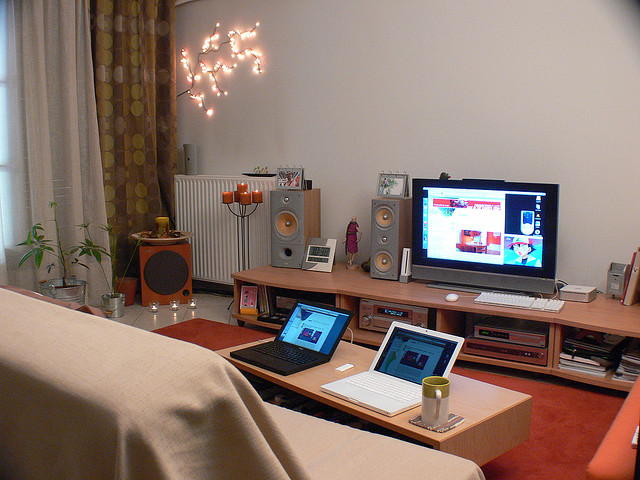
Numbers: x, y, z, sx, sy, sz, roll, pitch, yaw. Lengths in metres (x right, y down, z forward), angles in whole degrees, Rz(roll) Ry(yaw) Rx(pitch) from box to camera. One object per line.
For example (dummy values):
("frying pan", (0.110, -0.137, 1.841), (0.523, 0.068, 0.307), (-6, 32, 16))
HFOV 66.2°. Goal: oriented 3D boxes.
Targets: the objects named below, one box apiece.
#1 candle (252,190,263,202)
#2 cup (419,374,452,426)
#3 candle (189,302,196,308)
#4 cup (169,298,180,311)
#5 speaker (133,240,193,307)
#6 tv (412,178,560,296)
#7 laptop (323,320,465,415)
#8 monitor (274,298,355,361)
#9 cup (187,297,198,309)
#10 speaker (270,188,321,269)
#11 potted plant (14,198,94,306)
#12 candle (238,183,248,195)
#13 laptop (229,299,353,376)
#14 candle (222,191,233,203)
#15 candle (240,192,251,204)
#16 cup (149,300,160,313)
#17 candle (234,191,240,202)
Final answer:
("candle", (-0.515, -0.362, 4.068), (0.079, 0.089, 0.081), (0, 3, -4))
("cup", (0.390, 0.568, 1.688), (0.084, 0.152, 0.143), (4, 9, 25))
("candle", (-1.117, 0.574, 4.316), (0.054, 0.045, 0.060), (6, -2, -5))
("cup", (-1.292, 0.571, 4.324), (0.094, 0.083, 0.094), (0, 5, 0))
("speaker", (-1.347, 0.209, 4.580), (0.635, 0.743, 0.503), (-2, 7, -19))
("tv", (1.107, -0.025, 3.186), (0.694, 0.561, 0.163), (5, 9, 30))
("laptop", (0.290, 0.492, 1.952), (0.493, 0.205, 0.375), (-1, 2, -42))
("monitor", (-0.037, 0.426, 2.375), (0.375, 0.248, 0.164), (4, -2, 42))
("cup", (-1.141, 0.563, 4.374), (0.092, 0.098, 0.092), (2, 6, 0))
("speaker", (-0.205, -0.110, 4.123), (0.314, 0.650, 0.350), (5, 12, 24))
("potted plant", (-2.095, 0.143, 3.964), (0.693, 0.903, 0.531), (3, 5, 21))
("candle", (-0.651, -0.432, 4.158), (0.087, 0.106, 0.090), (3, 5, 43))
("laptop", (-0.108, 0.387, 2.264), (0.335, 0.160, 0.357), (10, 9, 41))
("candle", (-0.786, -0.371, 4.200), (0.083, 0.096, 0.081), (-3, 6, -41))
("candle", (-0.612, -0.345, 4.047), (0.084, 0.081, 0.084), (-3, 11, -15))
("cup", (-1.438, 0.578, 4.276), (0.094, 0.082, 0.091), (0, 7, 0))
("candle", (-0.674, -0.364, 4.098), (0.073, 0.087, 0.075), (-1, 5, 0))
